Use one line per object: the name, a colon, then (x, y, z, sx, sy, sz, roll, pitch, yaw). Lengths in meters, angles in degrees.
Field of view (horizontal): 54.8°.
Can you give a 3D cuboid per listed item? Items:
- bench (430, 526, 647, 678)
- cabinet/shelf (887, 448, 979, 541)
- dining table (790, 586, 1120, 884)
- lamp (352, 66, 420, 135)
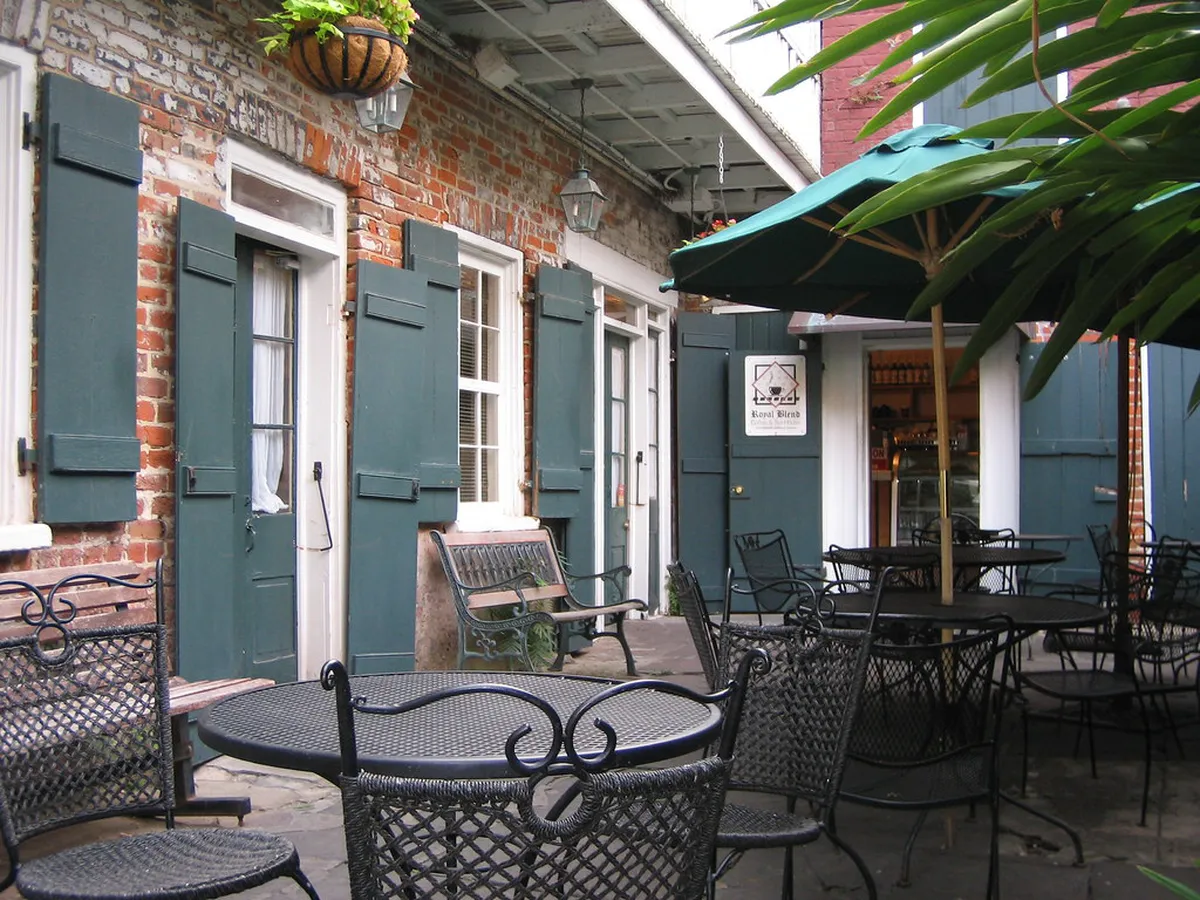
bench: (-0.365, 0.799, 6.573, 0.789, 0.961, 1.499, -9, -9, 26)
cabinet/shelf: (2.593, 0.352, 8.963, 0.795, 0.785, 0.441, -1, -1, 21)
dining table: (1.093, 0.890, 3.756, 1.005, 0.828, 1.091, 1, 3, 2)
lamp: (-1.000, -1.635, 5.525, 0.296, 0.392, 0.292, 1, -1, -13)
